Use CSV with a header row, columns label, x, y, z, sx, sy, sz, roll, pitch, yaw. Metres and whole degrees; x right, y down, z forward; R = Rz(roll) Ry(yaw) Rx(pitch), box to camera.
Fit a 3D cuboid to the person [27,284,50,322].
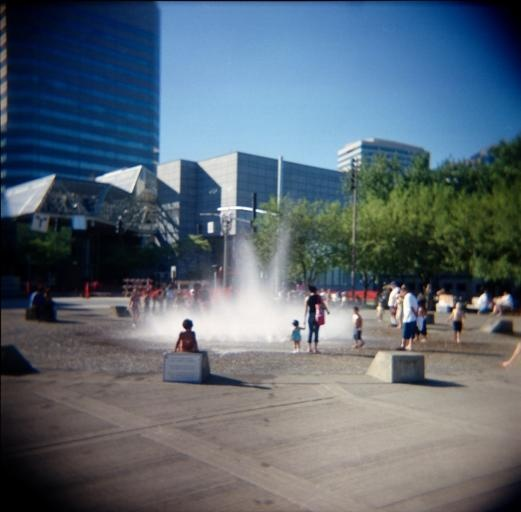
label,x,y,z,sx,sy,sz,roll,pitch,yaw
person,-8.001,1.866,24.521,0.631,1.143,0.684,-20,-25,26
